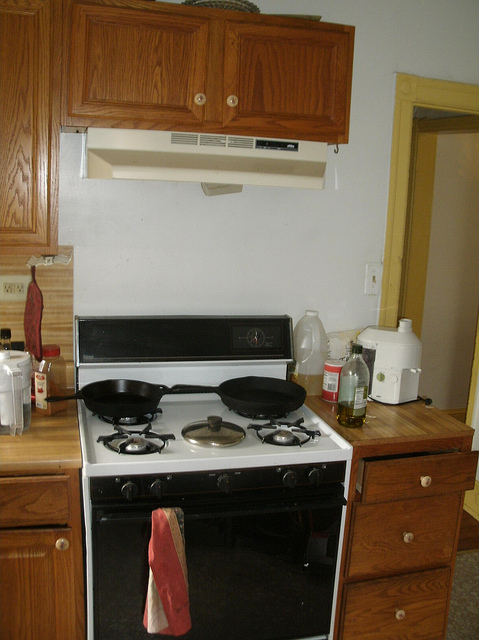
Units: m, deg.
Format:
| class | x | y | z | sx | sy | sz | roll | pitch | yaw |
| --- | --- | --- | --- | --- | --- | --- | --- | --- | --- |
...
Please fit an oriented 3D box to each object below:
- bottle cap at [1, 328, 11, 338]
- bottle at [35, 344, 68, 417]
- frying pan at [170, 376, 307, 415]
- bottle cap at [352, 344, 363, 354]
| class | x | y | z | sx | sy | sz | roll | pitch | yaw |
| --- | --- | --- | --- | --- | --- | --- | --- | --- | --- |
| bottle cap | -0.734 | 0.040 | 1.729 | 0.028 | 0.025 | 0.027 | 4 | 9 | -6 |
| bottle | -0.580 | 0.185 | 1.731 | 0.087 | 0.210 | 0.131 | 6 | 9 | 20 |
| frying pan | -0.031 | 0.248 | 1.783 | 0.487 | 0.086 | 0.277 | 0 | 12 | -5 |
| bottle cap | 0.361 | 0.087 | 1.692 | 0.028 | 0.023 | 0.028 | 6 | 9 | 21 |
